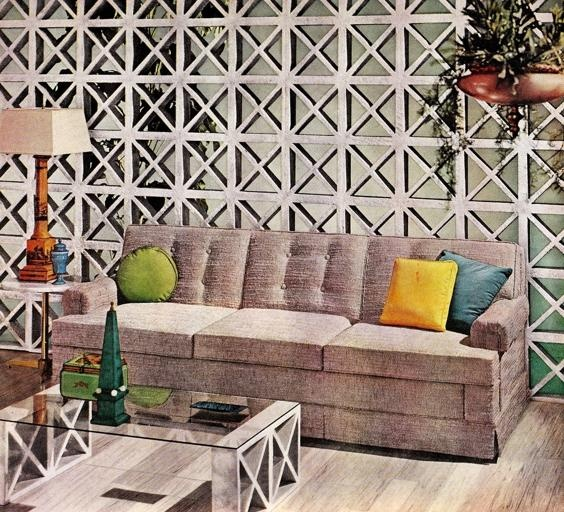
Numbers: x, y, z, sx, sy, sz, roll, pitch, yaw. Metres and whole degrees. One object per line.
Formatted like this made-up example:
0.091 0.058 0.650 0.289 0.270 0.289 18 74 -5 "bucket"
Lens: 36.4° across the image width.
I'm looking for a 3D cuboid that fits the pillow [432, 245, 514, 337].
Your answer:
0.949 0.186 4.522 0.330 0.353 0.373 -9 16 -34 "pillow"
